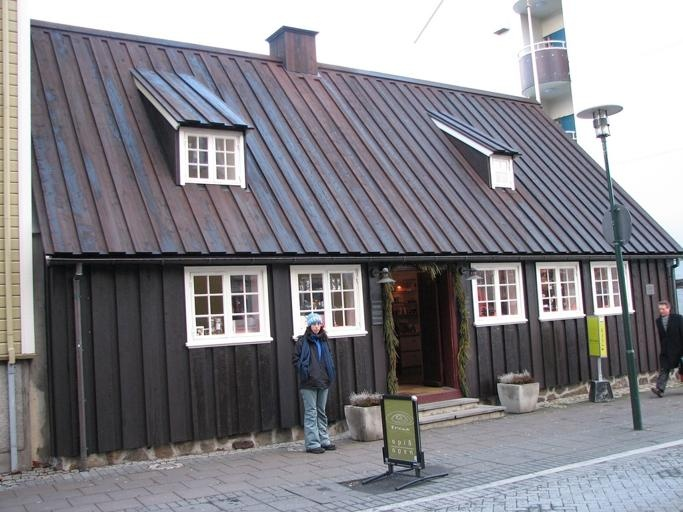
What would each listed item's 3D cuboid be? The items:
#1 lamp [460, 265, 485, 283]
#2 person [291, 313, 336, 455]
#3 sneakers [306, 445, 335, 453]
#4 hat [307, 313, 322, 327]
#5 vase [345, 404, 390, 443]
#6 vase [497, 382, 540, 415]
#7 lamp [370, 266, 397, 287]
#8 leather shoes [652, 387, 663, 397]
[{"bbox_3d":[2.842,0.419,15.183,0.368,0.247,0.397,5,-11,-40],"label":"lamp"},{"bbox_3d":[-0.484,2.240,12.256,0.687,2.415,0.435,-2,0,-3],"label":"person"},{"bbox_3d":[-0.396,3.387,12.214,0.501,0.206,0.169,-11,-14,34],"label":"sneakers"},{"bbox_3d":[-0.501,1.137,12.376,0.228,0.192,0.192,-6,-6,21],"label":"hat"},{"bbox_3d":[0.417,3.086,13.014,0.791,0.674,0.764,3,-6,-33],"label":"vase"},{"bbox_3d":[3.820,3.063,15.057,0.747,0.515,0.670,3,-6,-28],"label":"vase"},{"bbox_3d":[0.869,0.431,14.072,0.425,0.377,0.456,-2,0,31],"label":"lamp"},{"bbox_3d":[7.236,3.131,15.938,0.123,0.141,0.369,-12,-32,37],"label":"leather shoes"}]
